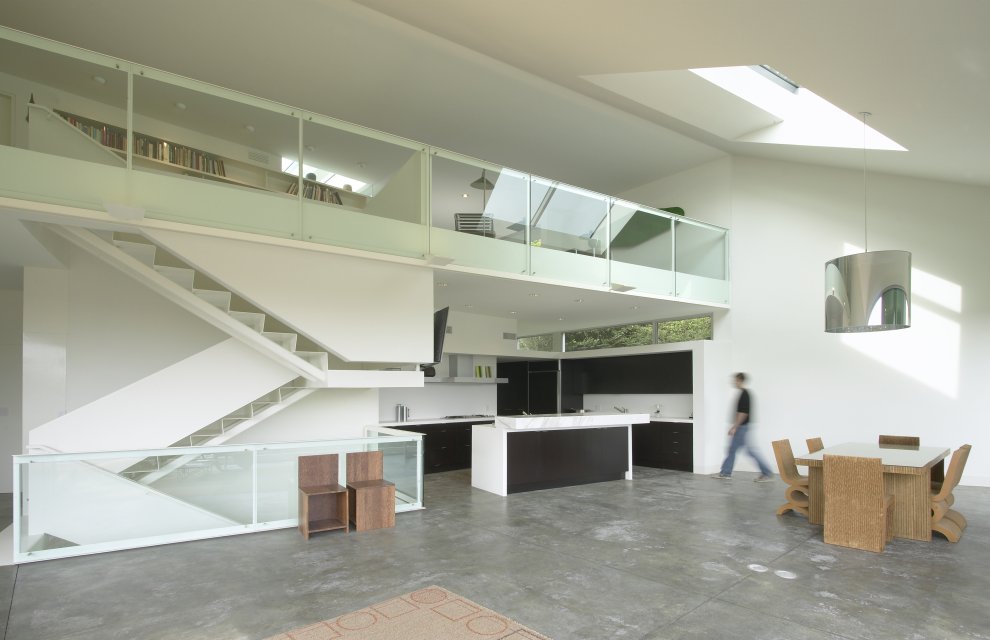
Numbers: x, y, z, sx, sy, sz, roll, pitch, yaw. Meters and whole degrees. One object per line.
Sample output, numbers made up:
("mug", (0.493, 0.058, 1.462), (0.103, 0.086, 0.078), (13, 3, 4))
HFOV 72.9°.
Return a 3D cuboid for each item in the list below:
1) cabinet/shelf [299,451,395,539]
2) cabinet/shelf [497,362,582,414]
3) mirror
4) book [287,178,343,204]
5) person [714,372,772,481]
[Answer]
("cabinet/shelf", (-2.289, 2.669, 10.089), (1.230, 0.909, 0.456), (1, -4, -24))
("cabinet/shelf", (1.183, 1.752, 17.091), (1.350, 1.167, 0.431), (-5, -8, 39))
("mirror", (5.111, -0.422, 10.092), (1.232, 1.263, 1.225), (0, -6, -1))
("book", (-2.904, -2.136, 11.090), (0.350, 0.423, 0.986), (9, 13, 37))
("person", (5.136, 2.124, 13.764), (0.853, 2.129, 0.891), (5, 12, 20))
